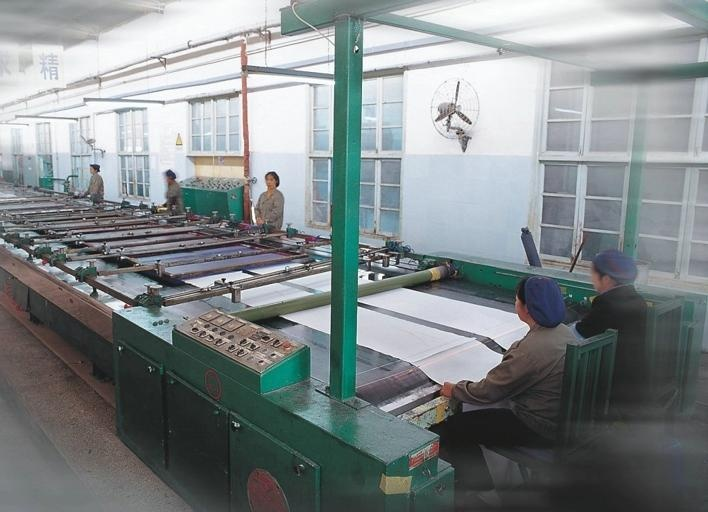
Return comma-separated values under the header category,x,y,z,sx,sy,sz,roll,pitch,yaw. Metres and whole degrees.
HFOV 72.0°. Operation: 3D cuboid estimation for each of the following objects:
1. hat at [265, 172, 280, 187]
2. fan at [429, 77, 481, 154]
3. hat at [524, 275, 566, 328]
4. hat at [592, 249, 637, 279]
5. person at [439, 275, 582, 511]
category,x,y,z,sx,sy,sz,roll,pitch,yaw
hat,-1.029,-0.961,6.159,0.120,0.198,0.305,0,14,-2
fan,1.261,-1.780,6.189,0.148,0.883,0.730,-9,17,-32
hat,0.883,0.204,2.297,0.185,0.239,0.073,10,-32,-14
hat,1.555,0.056,2.896,0.259,0.096,0.211,17,49,21
person,0.725,0.624,2.320,0.636,1.041,0.501,2,15,5
